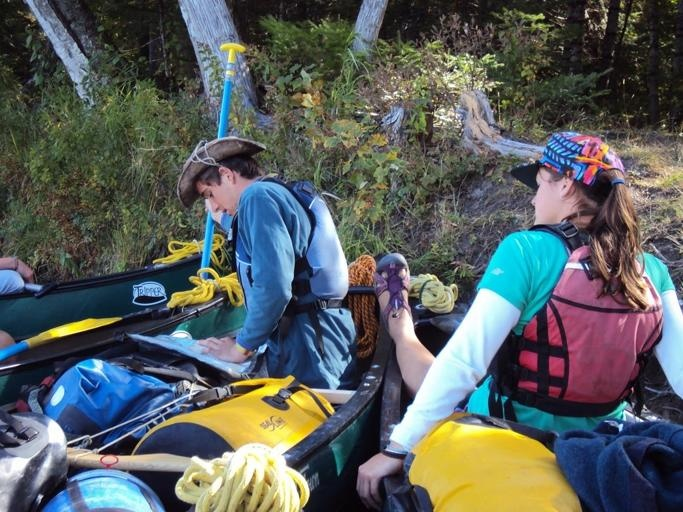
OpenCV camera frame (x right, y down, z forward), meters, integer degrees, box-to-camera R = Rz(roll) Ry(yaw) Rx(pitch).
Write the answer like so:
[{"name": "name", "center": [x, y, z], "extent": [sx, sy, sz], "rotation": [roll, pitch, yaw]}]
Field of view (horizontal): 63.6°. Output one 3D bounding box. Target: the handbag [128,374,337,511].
[{"name": "handbag", "center": [-0.421, 0.614, 2.214], "extent": [0.402, 0.281, 0.638], "rotation": [-24, -2, 41]}]

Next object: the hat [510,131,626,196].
[{"name": "hat", "center": [0.902, -0.384, 2.195], "extent": [0.238, 0.231, 0.396], "rotation": [-2, 16, -34]}]

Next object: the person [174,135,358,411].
[{"name": "person", "center": [-0.492, 0.297, 3.169], "extent": [1.086, 1.936, 0.750], "rotation": [8, 16, 42]}]

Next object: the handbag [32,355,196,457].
[{"name": "handbag", "center": [-1.088, 0.591, 2.578], "extent": [0.593, 0.250, 0.546], "rotation": [-25, -4, 11]}]

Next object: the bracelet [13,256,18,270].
[{"name": "bracelet", "center": [-2.766, 0.058, 4.690], "extent": [0.041, 0.065, 0.021], "rotation": [1, 6, -30]}]

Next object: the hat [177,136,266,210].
[{"name": "hat", "center": [-0.637, -0.529, 3.020], "extent": [0.383, 0.442, 0.169], "rotation": [-25, 59, -39]}]

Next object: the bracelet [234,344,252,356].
[{"name": "bracelet", "center": [-0.484, 0.475, 2.763], "extent": [0.069, 0.027, 0.051], "rotation": [45, 5, 37]}]
